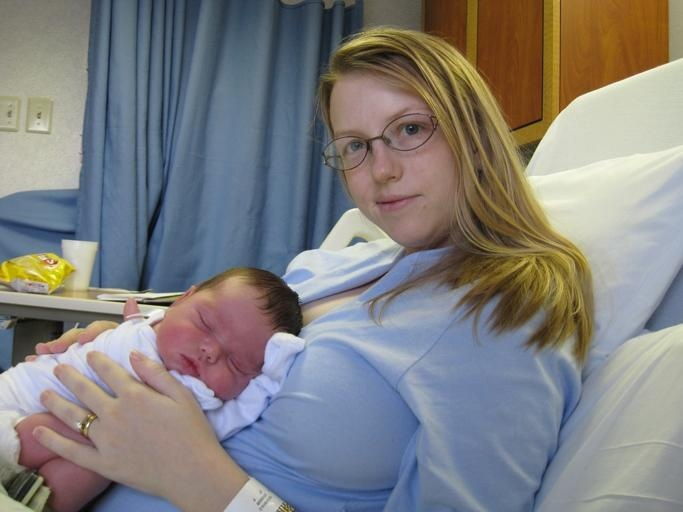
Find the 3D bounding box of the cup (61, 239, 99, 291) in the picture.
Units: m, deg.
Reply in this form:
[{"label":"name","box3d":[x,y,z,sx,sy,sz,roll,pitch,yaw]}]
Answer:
[{"label":"cup","box3d":[-0.883,0.037,2.317,0.144,0.196,0.154,2,-6,0]}]
